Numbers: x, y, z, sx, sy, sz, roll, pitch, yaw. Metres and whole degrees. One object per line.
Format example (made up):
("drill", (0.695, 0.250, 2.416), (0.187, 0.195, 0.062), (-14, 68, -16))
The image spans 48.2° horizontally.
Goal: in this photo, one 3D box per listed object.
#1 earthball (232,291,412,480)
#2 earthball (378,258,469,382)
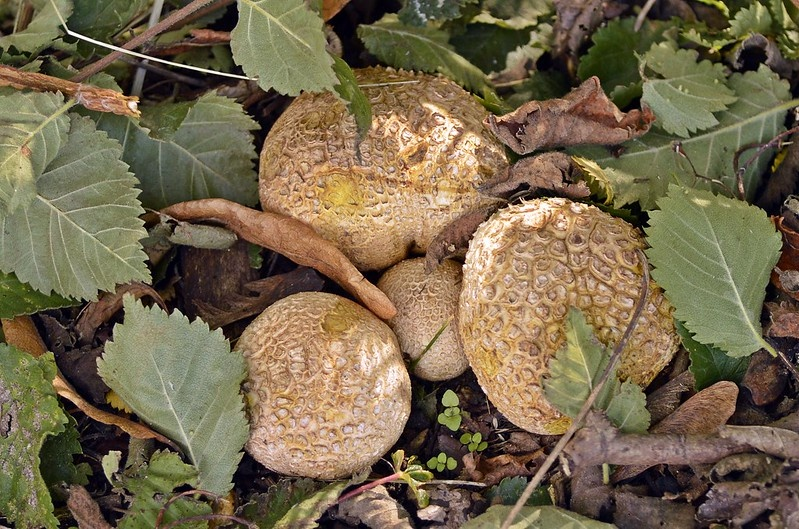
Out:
("earthball", (-0.360, 0.557, 4.219), (0.793, 0.269, 0.891), (-7, 77, 1))
("earthball", (0.225, 0.254, 4.543), (0.494, 0.317, 0.542), (-14, 94, 33))
